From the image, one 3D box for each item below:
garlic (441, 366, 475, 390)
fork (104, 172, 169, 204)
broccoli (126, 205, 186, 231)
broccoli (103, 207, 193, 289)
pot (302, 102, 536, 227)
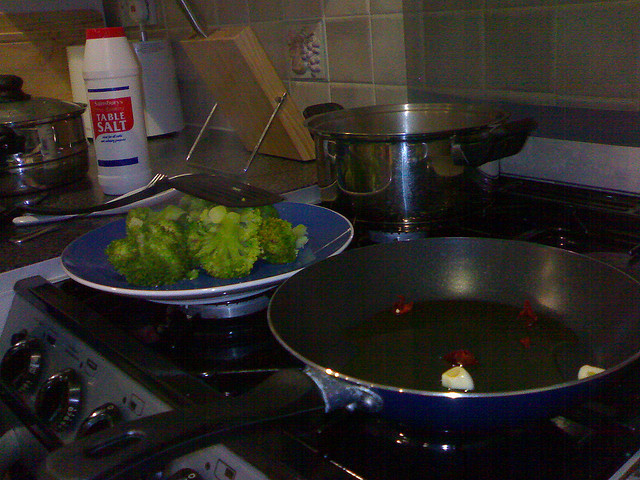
[{"bbox_3d":[0.128,0.128,0.494,0.023,0.006,0.019,3,25,14],"label":"garlic"},{"bbox_3d":[-0.336,-0.093,0.964,0.020,0.022,0.188,-42,-10,38],"label":"fork"},{"bbox_3d":[-0.220,-0.032,0.723,0.065,0.018,0.039,-14,19,-20],"label":"broccoli"},{"bbox_3d":[-0.217,0.001,0.672,0.113,0.022,0.122,-10,36,-24],"label":"broccoli"},{"bbox_3d":[0.144,-0.167,0.971,0.583,0.187,0.387,0,17,0],"label":"pot"}]
